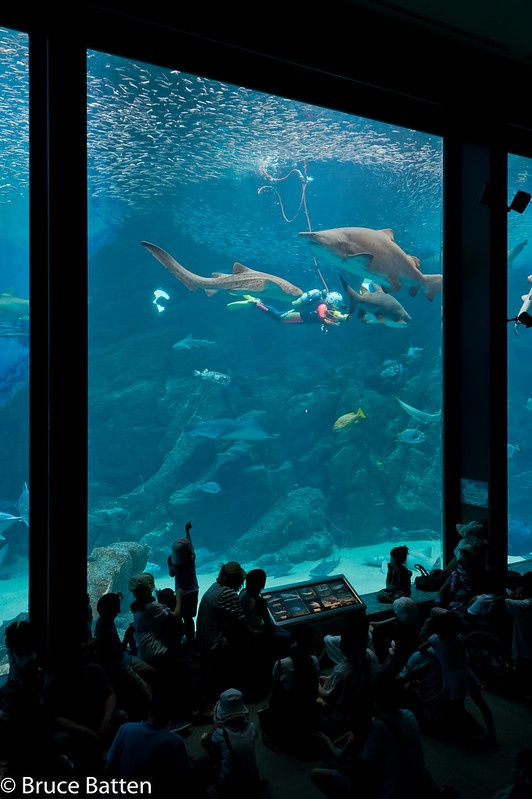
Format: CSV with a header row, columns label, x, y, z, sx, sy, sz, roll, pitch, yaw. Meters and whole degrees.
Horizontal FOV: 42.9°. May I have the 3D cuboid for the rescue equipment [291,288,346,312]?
label,x,y,z,sx,sy,sz,roll,pitch,yaw
rescue equipment,1.204,-2.306,15.964,1.436,0.474,1.021,-12,9,-10

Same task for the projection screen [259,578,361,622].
label,x,y,z,sx,sy,sz,roll,pitch,yaw
projection screen,0.399,1.546,5.675,0.780,0.152,0.371,-9,31,-24

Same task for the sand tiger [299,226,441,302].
label,x,y,z,sx,sy,sz,roll,pitch,yaw
sand tiger,1.464,-1.973,9.385,2.129,0.695,1.001,21,11,-10
